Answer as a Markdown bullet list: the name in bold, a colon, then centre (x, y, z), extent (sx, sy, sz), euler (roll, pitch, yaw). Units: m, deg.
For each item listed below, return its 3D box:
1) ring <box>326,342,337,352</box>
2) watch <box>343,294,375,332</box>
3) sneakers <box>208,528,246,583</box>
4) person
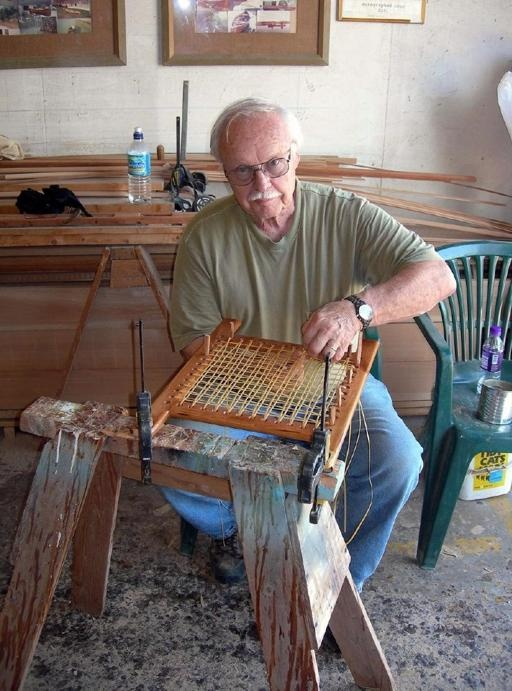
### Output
- **ring**: centre (0.167, 0.003, 1.130), extent (0.005, 0.020, 0.021), euler (7, 2, -15)
- **watch**: centre (0.255, -0.083, 1.313), extent (0.056, 0.090, 0.088), euler (-34, 13, -30)
- **sneakers**: centre (-0.106, 0.744, 1.808), extent (0.084, 0.104, 0.245), euler (-29, -10, -11)
- **person**: centre (0.103, 0.047, 1.597), extent (0.880, 1.483, 0.737), euler (17, 25, 33)
